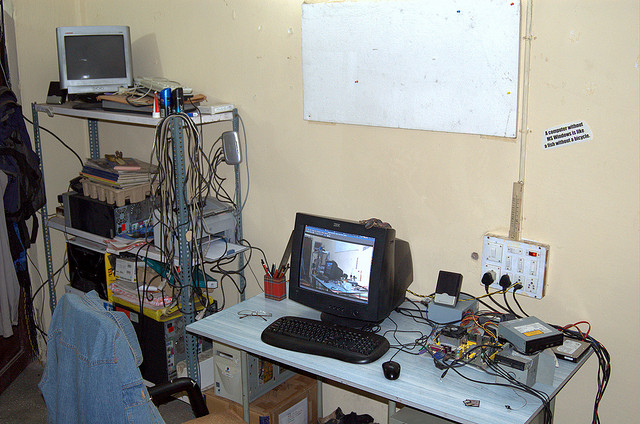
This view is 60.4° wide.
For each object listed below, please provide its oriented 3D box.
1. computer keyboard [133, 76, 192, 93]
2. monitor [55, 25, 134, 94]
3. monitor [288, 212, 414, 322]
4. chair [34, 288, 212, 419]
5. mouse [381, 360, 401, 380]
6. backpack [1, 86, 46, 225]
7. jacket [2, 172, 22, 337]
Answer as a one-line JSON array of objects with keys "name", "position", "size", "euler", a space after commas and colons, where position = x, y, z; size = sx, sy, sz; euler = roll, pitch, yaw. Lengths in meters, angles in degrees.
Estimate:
[{"name": "computer keyboard", "position": [-1.014, -0.827, 3.581], "size": [0.214, 0.048, 0.150], "euler": [24, 26, 33]}, {"name": "monitor", "position": [-1.525, -1.034, 3.734], "size": [0.456, 0.407, 0.237], "euler": [-4, 9, -15]}, {"name": "monitor", "position": [0.213, 0.205, 3.132], "size": [0.531, 0.521, 0.613], "euler": [8, 16, 32]}, {"name": "chair", "position": [-0.966, 0.676, 2.439], "size": [0.604, 0.585, 0.322], "euler": [14, 14, 39]}, {"name": "mouse", "position": [0.340, 0.750, 2.617], "size": [0.090, 0.070, 0.075], "euler": [6, 11, 5]}, {"name": "backpack", "position": [-2.100, -0.388, 3.822], "size": [0.181, 0.940, 0.331], "euler": [8, 12, 18]}, {"name": "jacket", "position": [-2.111, 0.312, 3.746], "size": [0.102, 1.159, 0.342], "euler": [-1, 13, -28]}]
